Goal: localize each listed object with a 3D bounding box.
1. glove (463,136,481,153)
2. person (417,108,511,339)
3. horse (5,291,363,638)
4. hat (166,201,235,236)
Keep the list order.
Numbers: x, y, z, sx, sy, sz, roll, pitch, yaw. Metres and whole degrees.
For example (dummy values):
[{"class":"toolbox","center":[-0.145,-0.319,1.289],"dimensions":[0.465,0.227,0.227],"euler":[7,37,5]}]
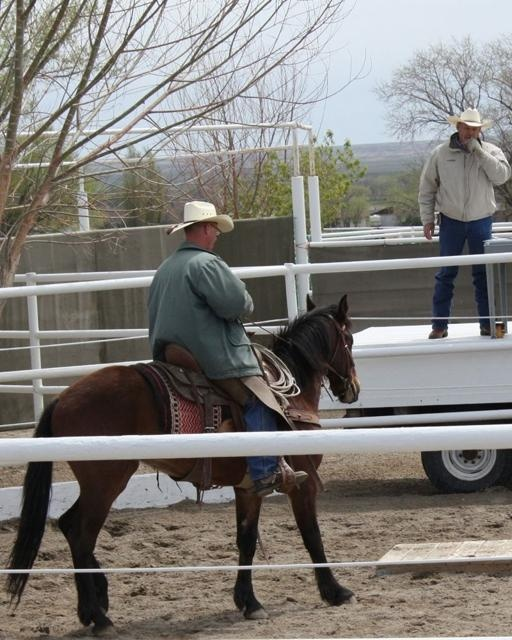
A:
[{"class":"glove","center":[1.534,-1.252,7.677],"dimensions":[0.126,0.107,0.095],"euler":[24,18,19]},{"class":"person","center":[1.514,-0.727,7.834],"dimensions":[0.650,1.640,0.790],"euler":[-3,6,8]},{"class":"horse","center":[-0.270,0.695,5.234],"dimensions":[1.864,1.487,0.723],"euler":[-6,6,-30]},{"class":"hat","center":[-0.259,-0.516,5.408],"dimensions":[0.247,0.104,0.217],"euler":[0,-5,-21]}]
